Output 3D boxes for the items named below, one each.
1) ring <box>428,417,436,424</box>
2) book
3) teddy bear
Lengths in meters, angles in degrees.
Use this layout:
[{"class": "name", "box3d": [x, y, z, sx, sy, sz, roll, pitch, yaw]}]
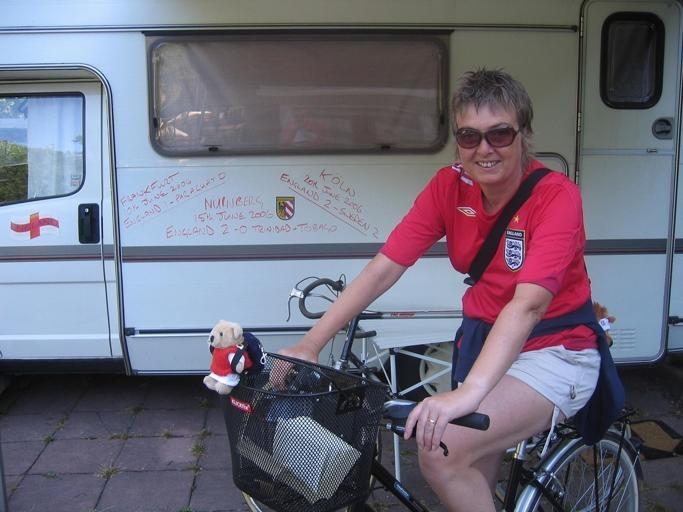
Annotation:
[{"class": "ring", "box3d": [0.342, 0.624, 2.339, 0.019, 0.020, 0.005, 11, -1, 45]}, {"class": "book", "box3d": [-0.170, 0.739, 2.342, 0.337, 0.238, 0.336, 31, -3, -28]}, {"class": "teddy bear", "box3d": [-0.447, 0.387, 2.422, 0.191, 0.286, 0.152, 6, 8, 34]}]
